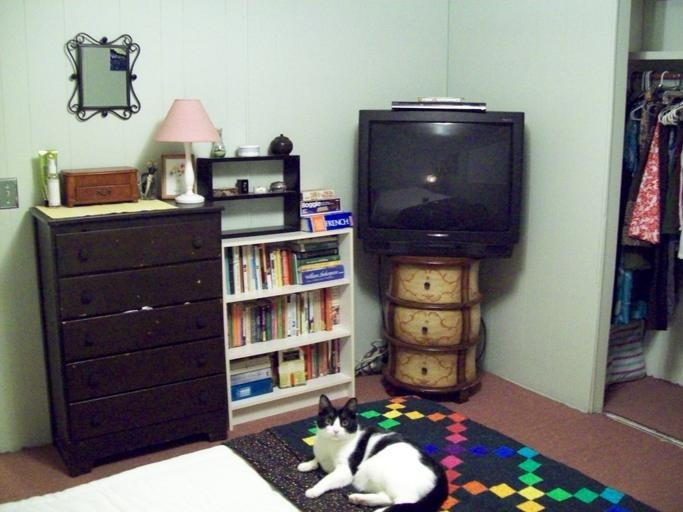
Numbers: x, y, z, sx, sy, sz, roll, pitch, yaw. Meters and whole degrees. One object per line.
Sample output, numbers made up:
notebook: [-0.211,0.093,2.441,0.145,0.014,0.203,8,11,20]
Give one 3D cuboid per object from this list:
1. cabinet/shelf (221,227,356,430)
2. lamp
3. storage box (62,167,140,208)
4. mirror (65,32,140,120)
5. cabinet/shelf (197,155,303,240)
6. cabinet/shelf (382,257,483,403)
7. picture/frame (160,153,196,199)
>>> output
cabinet/shelf: [-0.359,0.426,3.561,1.147,1.354,0.393,-6,7,-32]
lamp: [-0.879,-0.603,3.286,0.334,0.577,0.352,-13,19,-34]
storage box: [-1.302,-0.383,3.143,0.364,0.193,0.089,-9,16,-21]
mirror: [-1.335,-1.016,3.185,0.531,0.572,0.029,-1,14,-23]
cabinet/shelf: [-0.576,-0.371,3.533,0.523,0.395,0.172,-6,14,-29]
cabinet/shelf: [0.609,0.449,3.973,0.735,0.895,0.641,1,7,7]
picture/frame: [-0.953,-0.468,3.340,0.271,0.339,0.028,-5,10,-33]
